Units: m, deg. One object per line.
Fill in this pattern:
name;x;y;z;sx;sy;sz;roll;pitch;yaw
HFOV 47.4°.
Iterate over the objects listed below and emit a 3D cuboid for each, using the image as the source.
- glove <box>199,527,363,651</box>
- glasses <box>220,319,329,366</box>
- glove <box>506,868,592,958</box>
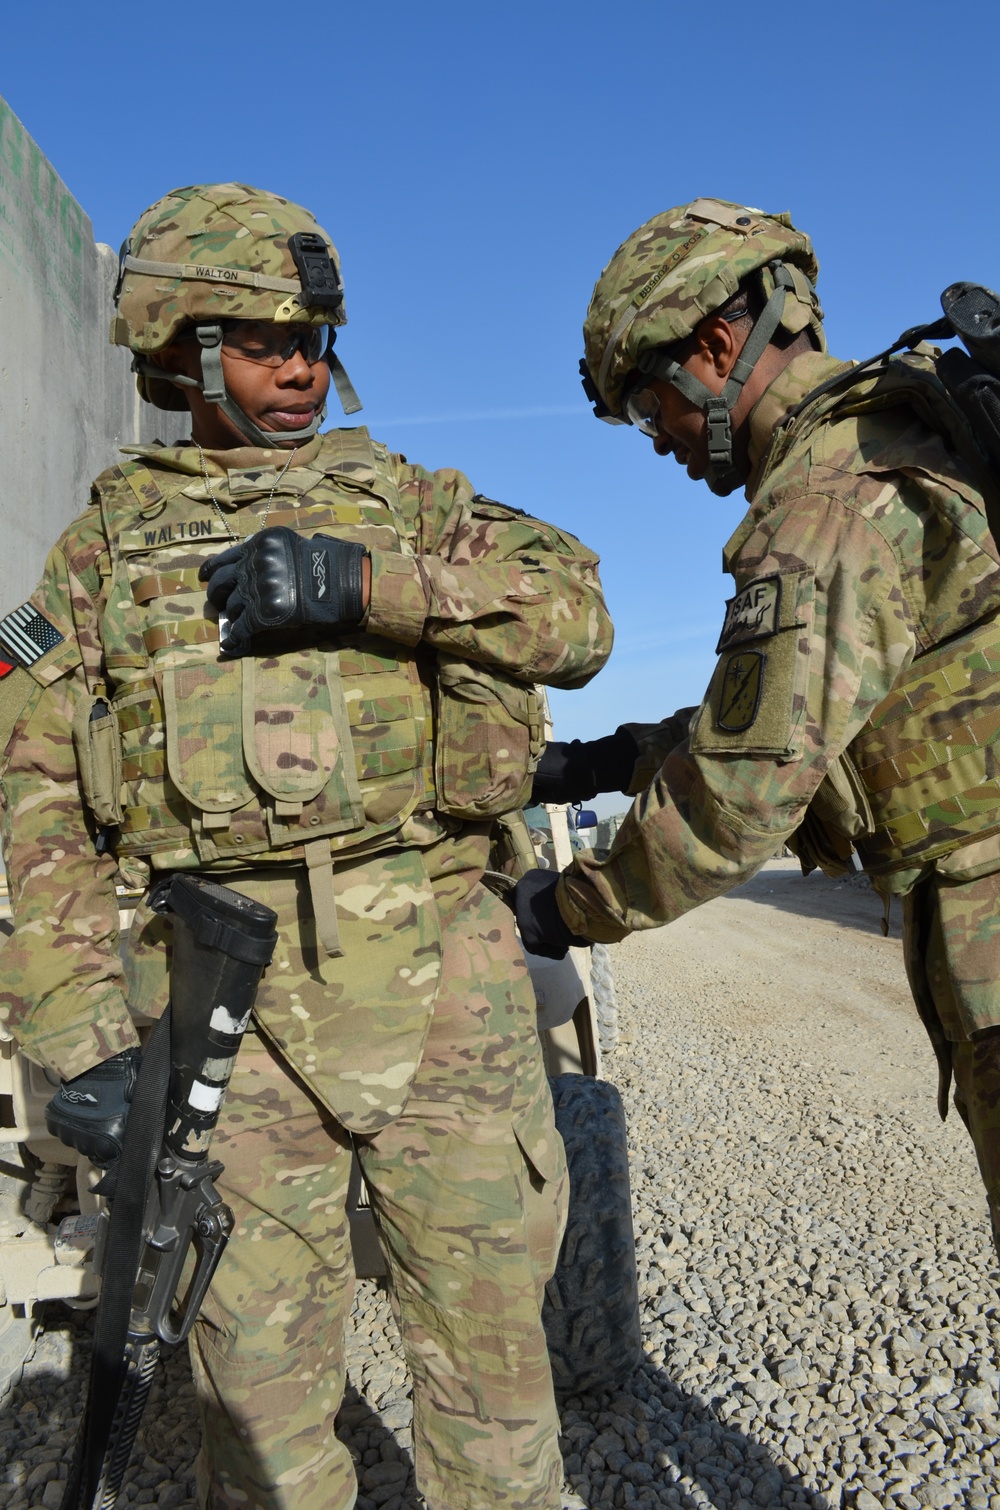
glove;-0.305;-0.250;1.715;0.264;0.151;0.107;-4;5;33
glasses;-0.374;-0.706;1.944;0.122;0.036;0.095;0;2;43
glove;0.080;0.269;1.976;0.128;0.160;0.166;24;-1;17
